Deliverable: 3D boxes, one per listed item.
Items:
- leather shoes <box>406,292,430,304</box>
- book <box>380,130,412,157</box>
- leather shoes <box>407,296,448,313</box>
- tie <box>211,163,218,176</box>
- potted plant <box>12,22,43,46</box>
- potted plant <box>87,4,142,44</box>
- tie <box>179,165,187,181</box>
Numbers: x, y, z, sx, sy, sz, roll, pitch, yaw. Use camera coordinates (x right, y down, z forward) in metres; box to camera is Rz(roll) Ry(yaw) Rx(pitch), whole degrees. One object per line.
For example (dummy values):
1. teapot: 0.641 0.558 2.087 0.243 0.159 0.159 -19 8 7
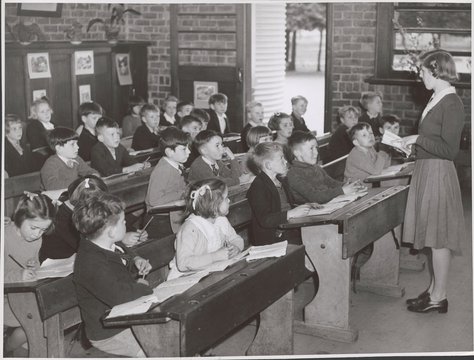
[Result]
1. leather shoes: 1.459 0.976 3.412 0.216 0.081 0.073 -21 27 35
2. book: 1.381 -0.284 3.504 0.318 0.098 0.245 27 15 -24
3. leather shoes: 1.522 0.999 3.355 0.322 0.133 0.121 0 3 10
4. tie: -0.228 -0.104 3.953 0.056 0.099 0.023 -7 -2 -40
5. potted plant: -3.007 -2.078 5.885 0.399 0.153 0.398 8 18 35
6. potted plant: -2.164 -2.754 7.323 0.550 0.748 1.124 3 12 17
7. tie: -0.541 -0.066 3.894 0.038 0.112 0.081 -12 23 9
